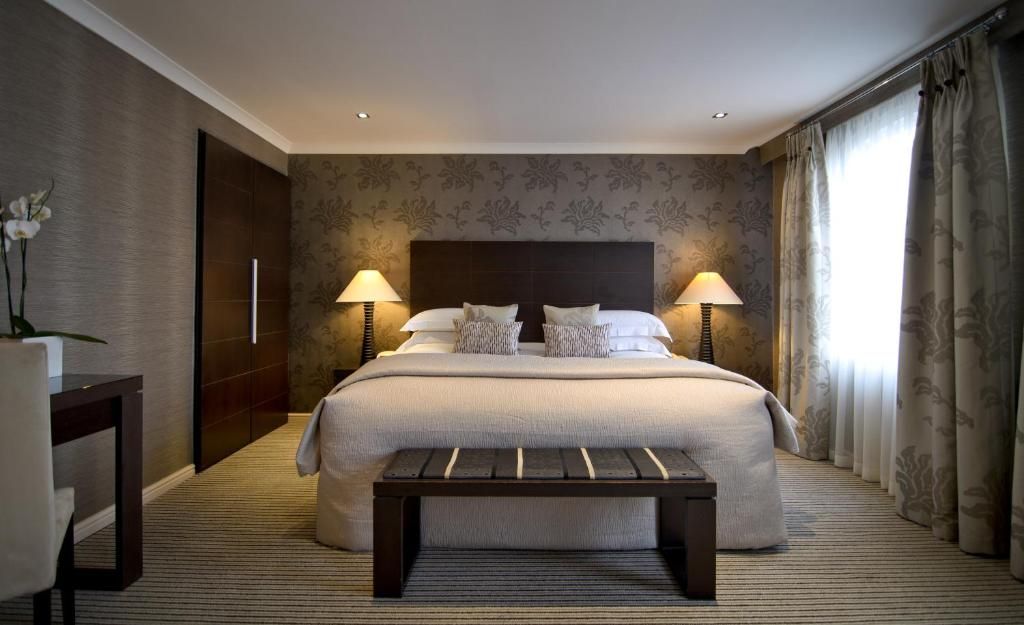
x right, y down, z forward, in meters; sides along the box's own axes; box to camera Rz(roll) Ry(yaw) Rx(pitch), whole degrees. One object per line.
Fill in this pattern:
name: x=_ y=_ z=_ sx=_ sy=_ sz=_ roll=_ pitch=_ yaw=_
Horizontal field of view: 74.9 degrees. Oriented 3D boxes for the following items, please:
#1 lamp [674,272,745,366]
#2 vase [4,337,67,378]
lamp: x=1.884 y=0.067 z=6.463 sx=0.640 sy=0.916 sz=0.627 roll=-5 pitch=-10 yaw=44
vase: x=-2.585 y=0.234 z=3.593 sx=0.241 sy=0.158 sz=0.130 roll=2 pitch=-6 yaw=-23
